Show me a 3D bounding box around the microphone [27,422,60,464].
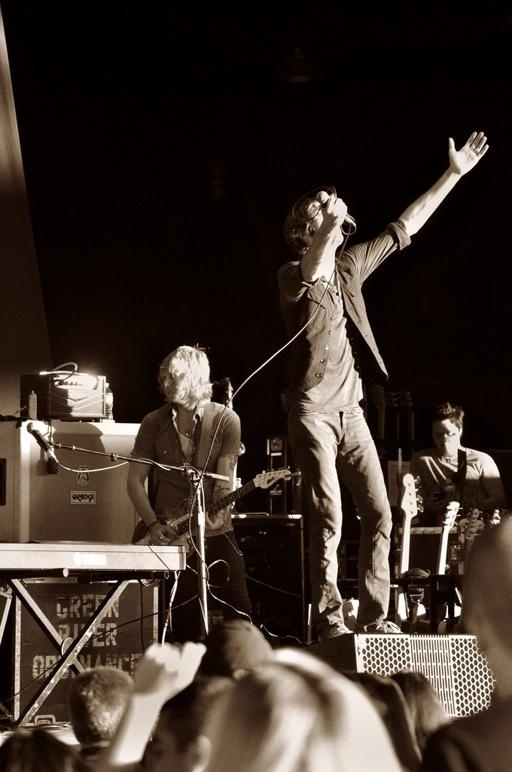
[{"bbox_3d":[-1.143,0.318,5.034,0.069,0.101,0.365,7,22,-29],"label":"microphone"}]

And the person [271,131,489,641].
[{"bbox_3d":[0.473,0.050,3.779,0.653,1.847,0.478,3,-7,-23],"label":"person"}]

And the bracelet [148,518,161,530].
[{"bbox_3d":[-0.468,0.654,4.389,0.027,0.028,0.079,20,-28,-9],"label":"bracelet"}]
